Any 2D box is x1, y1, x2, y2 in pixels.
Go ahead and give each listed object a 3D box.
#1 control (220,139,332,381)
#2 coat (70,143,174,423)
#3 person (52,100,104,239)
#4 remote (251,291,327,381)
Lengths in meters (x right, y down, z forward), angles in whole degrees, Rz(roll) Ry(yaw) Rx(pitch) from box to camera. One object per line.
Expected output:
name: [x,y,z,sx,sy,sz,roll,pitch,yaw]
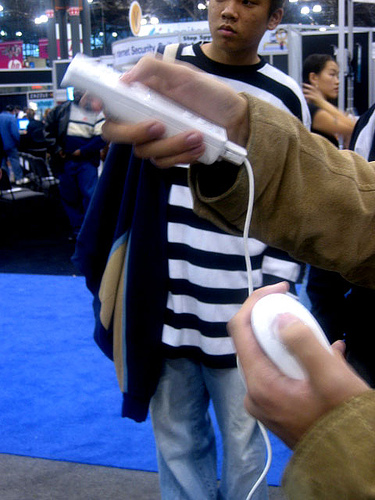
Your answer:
control: [0.096,-0.010,0.646,0.034,0.089,0.375,23,40,-29]
coat: [-0.214,0.090,1.497,0.342,0.826,0.210,9,19,36]
person: [-1.234,-0.964,5.465,0.618,1.507,0.397,0,11,-4]
remote: [0.114,0.100,0.567,0.063,0.021,0.091,16,33,-34]
